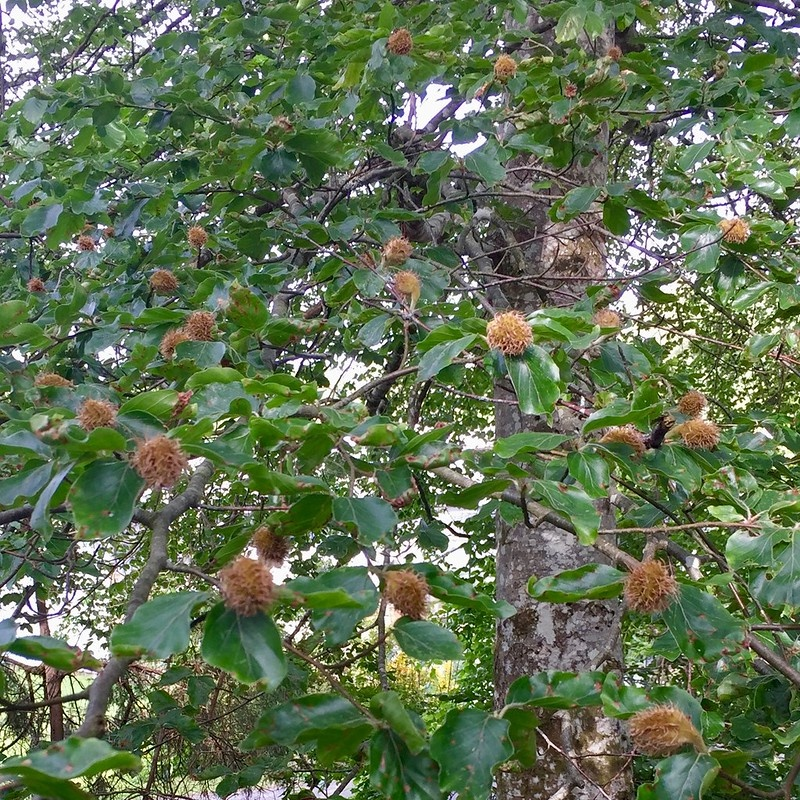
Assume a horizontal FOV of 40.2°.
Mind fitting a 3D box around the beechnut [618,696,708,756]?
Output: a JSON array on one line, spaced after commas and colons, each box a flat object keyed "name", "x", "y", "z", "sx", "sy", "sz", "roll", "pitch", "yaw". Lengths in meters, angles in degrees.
[{"name": "beechnut", "x": 0.750, "y": 0.941, "z": 3.143, "sx": 0.208, "sy": 0.092, "sz": 0.118, "roll": 12, "pitch": 52, "yaw": 3}]

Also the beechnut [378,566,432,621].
[{"name": "beechnut", "x": 0.018, "y": 0.547, "z": 3.105, "sx": 0.152, "sy": 0.082, "sz": 0.111, "roll": 18, "pitch": 36, "yaw": 38}]
